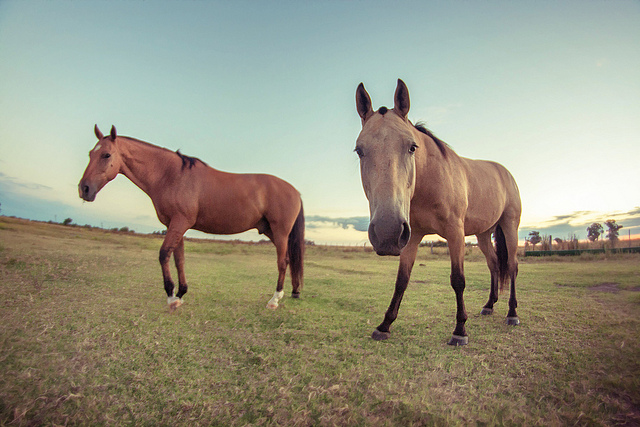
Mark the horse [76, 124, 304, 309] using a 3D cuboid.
[{"bbox_3d":[-2.398,-0.048,7.053,3.696,2.906,1.491,2,4,-1],"label":"horse"}]

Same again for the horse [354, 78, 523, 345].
[{"bbox_3d":[2.280,0.224,6.232,4.758,3.549,1.169,7,-7,-44],"label":"horse"}]
